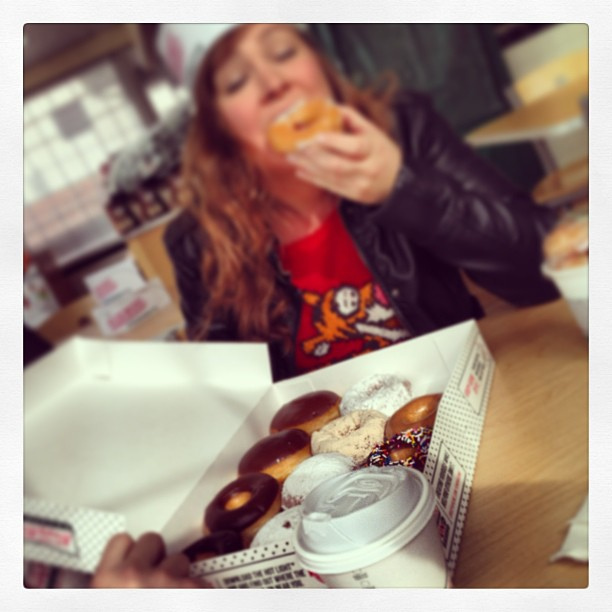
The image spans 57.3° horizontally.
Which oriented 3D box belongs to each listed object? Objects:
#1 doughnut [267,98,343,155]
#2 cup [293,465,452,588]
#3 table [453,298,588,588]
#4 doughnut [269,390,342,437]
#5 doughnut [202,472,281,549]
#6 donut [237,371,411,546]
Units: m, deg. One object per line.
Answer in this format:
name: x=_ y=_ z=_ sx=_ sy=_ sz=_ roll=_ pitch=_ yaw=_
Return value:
doughnut: x=-0.002 y=-0.347 z=1.083 sx=0.150 sy=0.061 sz=0.050 roll=-26 pitch=17 yaw=11
cup: x=0.068 y=0.238 z=0.582 sx=0.143 sy=0.121 sz=0.150 roll=-22 pitch=8 yaw=3
table: x=0.235 y=0.129 z=0.642 sx=0.107 sy=0.307 sz=0.215 roll=5 pitch=15 yaw=20
doughnut: x=-0.005 y=0.165 z=0.920 sx=0.092 sy=0.065 sz=0.098 roll=15 pitch=21 yaw=39
doughnut: x=-0.081 y=0.250 z=0.706 sx=0.073 sy=0.027 sz=0.072 roll=-33 pitch=10 yaw=3
donut: x=0.013 y=0.172 z=0.758 sx=0.191 sy=0.066 sz=0.195 roll=-32 pitch=9 yaw=15
